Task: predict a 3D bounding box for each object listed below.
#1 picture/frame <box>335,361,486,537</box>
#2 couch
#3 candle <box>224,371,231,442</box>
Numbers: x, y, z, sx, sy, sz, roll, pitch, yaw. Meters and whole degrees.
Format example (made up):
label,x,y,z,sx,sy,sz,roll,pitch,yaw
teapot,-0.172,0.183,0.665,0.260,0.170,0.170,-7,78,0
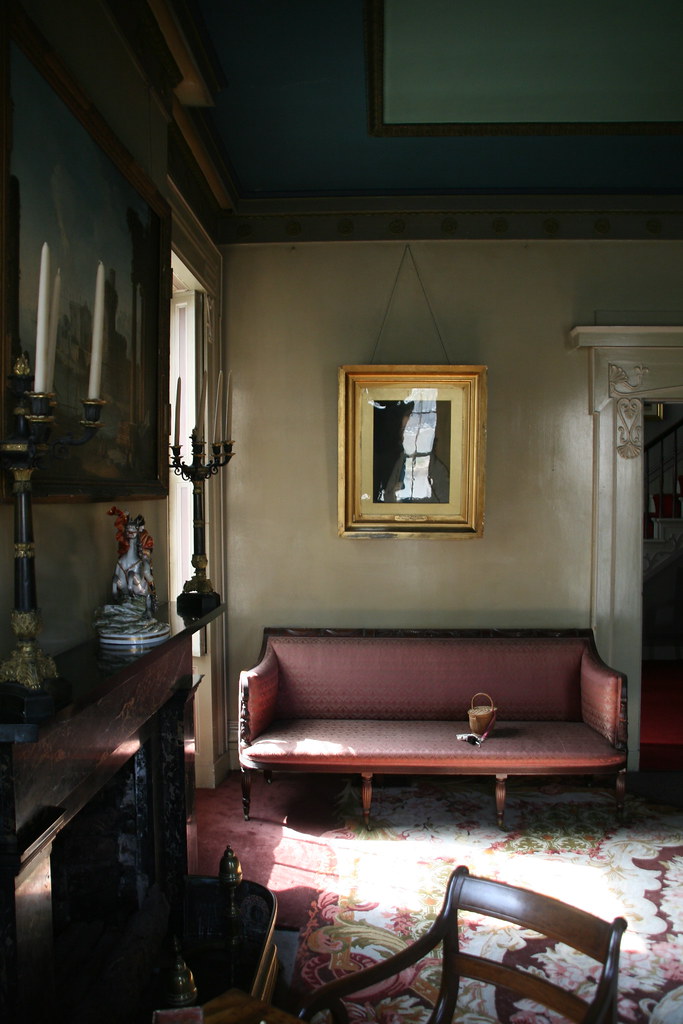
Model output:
label,x,y,z,sx,sy,sz,roll,pitch,yaw
picture/frame,0.388,-0.347,4.445,0.795,1.060,0.074,0,3,1
couch,0.433,0.993,3.965,1.767,0.734,0.843,0,1,1
candle,-0.427,-0.376,3.090,0.021,0.223,0.083,0,1,-18
